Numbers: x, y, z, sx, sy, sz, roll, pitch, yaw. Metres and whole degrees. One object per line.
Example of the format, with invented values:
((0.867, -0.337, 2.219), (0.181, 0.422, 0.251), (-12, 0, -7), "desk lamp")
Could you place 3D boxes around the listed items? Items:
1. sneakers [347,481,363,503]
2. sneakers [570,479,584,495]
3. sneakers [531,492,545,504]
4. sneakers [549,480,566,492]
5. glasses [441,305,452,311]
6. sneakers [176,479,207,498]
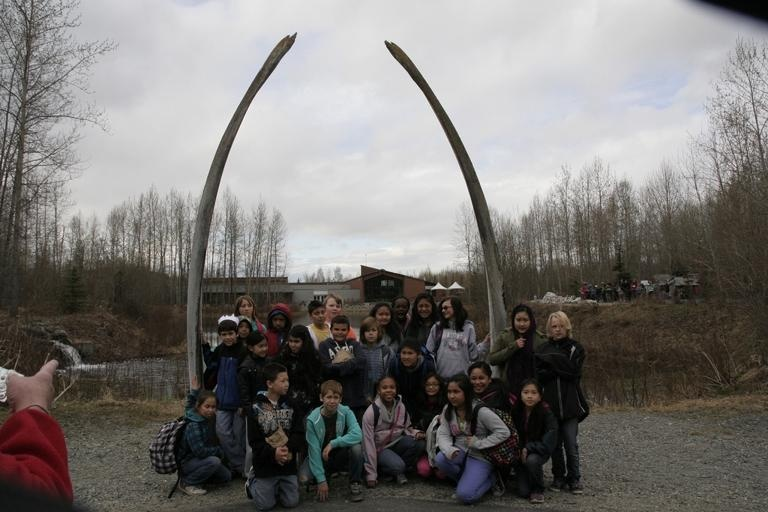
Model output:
((-0.468, 3.991, 9.813), (0.234, 0.306, 0.492), (-1, 0, -2), "sneakers")
((3.350, 4.014, 9.903), (0.130, 0.134, 0.333), (-3, -24, 0), "sneakers")
((2.606, 4.067, 9.645), (0.271, 0.169, 0.200), (-1, 0, 0), "sneakers")
((3.062, 4.039, 10.049), (0.114, 0.150, 0.351), (-8, -31, 31), "sneakers")
((1.240, 0.999, 11.243), (0.104, 0.082, 0.144), (5, 0, 37), "glasses")
((-3.394, 4.113, 10.043), (0.459, 0.204, 0.204), (-1, -9, 6), "sneakers")
